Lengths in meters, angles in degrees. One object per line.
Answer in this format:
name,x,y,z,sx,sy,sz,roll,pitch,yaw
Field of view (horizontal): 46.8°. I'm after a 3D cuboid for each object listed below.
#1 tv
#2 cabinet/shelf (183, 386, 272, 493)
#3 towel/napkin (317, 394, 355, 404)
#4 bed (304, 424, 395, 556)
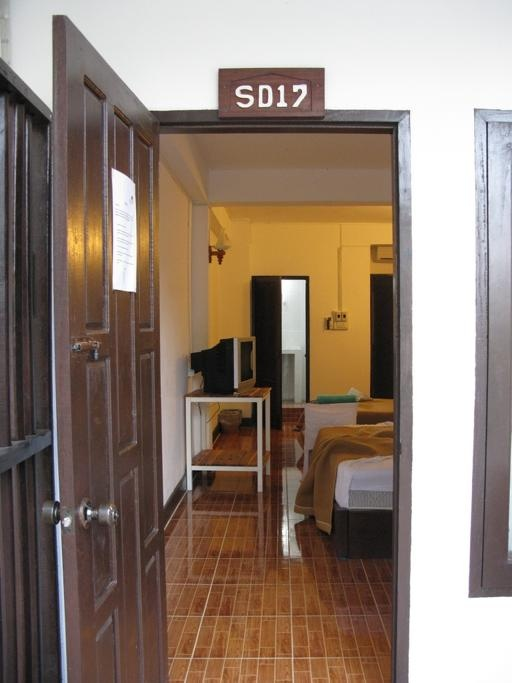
tv,-0.257,0.202,4.963,0.311,0.479,0.526,0,2,5
cabinet/shelf,-0.215,0.793,4.962,0.491,1.035,0.858,0,0,1
towel/napkin,0.674,0.489,4.972,0.330,0.074,0.368,0,1,5
bed,0.531,0.906,3.673,0.443,0.310,0.785,-1,3,4
